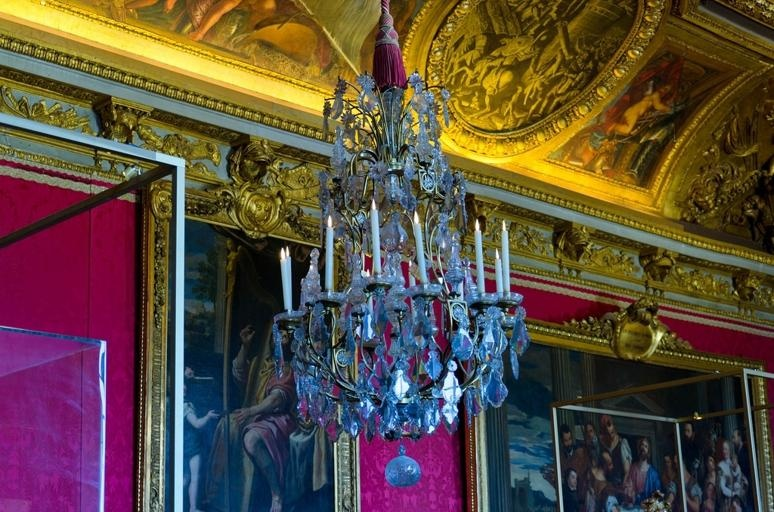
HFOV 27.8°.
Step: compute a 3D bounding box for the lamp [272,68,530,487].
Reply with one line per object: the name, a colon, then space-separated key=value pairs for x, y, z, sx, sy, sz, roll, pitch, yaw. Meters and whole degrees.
lamp: x=0.082 y=0.005 z=12.534 sx=1.814 sy=3.752 sz=2.486 roll=2 pitch=-18 yaw=1
